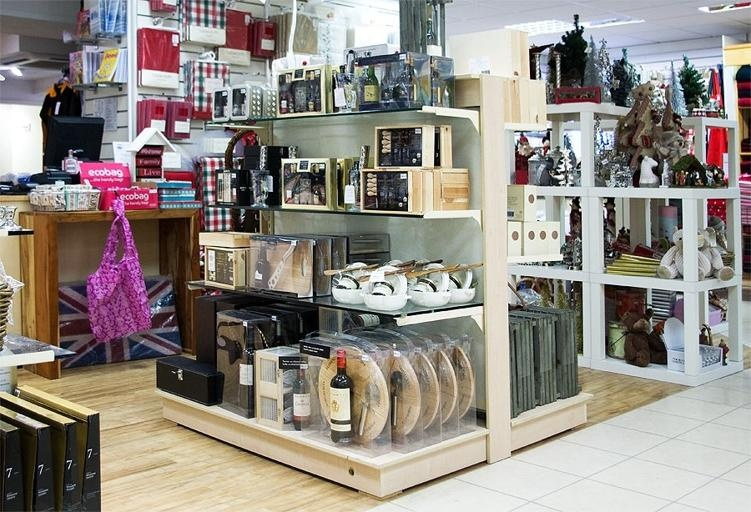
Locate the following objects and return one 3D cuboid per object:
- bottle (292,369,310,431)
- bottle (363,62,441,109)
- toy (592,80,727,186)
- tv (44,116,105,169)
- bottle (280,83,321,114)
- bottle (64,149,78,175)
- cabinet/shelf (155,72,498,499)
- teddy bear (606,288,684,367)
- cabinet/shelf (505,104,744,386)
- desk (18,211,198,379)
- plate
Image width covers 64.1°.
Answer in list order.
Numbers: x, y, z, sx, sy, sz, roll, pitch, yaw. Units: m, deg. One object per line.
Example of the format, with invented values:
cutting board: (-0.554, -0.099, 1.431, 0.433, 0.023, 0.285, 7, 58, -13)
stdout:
bottle: (-0.442, 0.834, 3.562, 0.107, 0.395, 0.055, 3, 8, 28)
bottle: (0.130, -0.969, 3.398, 0.430, 0.250, 0.163, -1, 8, 1)
toy: (2.504, -0.932, 5.404, 1.046, 0.945, 0.927, -6, 5, -37)
tv: (-2.869, -1.079, 5.682, 0.587, 0.579, 0.211, -2, 31, -38)
bottle: (-0.470, -1.012, 3.823, 0.031, 0.145, 0.235, 2, 1, -44)
bottle: (-2.830, -0.879, 5.544, 0.134, 0.233, 0.461, -5, 9, -28)
cabinet/shelf: (-0.070, 0.078, 3.713, 1.623, 2.281, 1.093, 5, 10, 37)
teddy bear: (2.415, 0.569, 5.490, 0.734, 0.725, 0.608, 0, -1, -29)
cabinet/shelf: (2.111, -0.086, 5.059, 0.843, 2.376, 2.534, 0, 0, -38)
desk: (-2.398, 0.357, 5.284, 1.410, 1.352, 0.585, -3, 4, -41)
plate: (0.078, 0.782, 3.379, 0.590, 0.596, 0.172, 1, -1, 0)
